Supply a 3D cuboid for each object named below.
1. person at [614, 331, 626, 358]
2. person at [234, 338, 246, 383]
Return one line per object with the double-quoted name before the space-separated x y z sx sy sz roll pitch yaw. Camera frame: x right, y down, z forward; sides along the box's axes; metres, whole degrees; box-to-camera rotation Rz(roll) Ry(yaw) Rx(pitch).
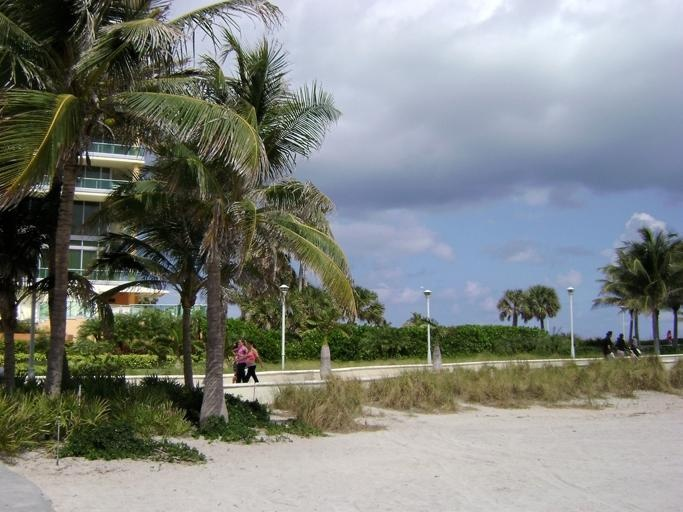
"person" 15.265 4.832 37.068 0.585 1.298 1.880 -4 -13 22
"person" -3.671 3.792 24.742 0.401 1.561 0.932 3 -12 -10
